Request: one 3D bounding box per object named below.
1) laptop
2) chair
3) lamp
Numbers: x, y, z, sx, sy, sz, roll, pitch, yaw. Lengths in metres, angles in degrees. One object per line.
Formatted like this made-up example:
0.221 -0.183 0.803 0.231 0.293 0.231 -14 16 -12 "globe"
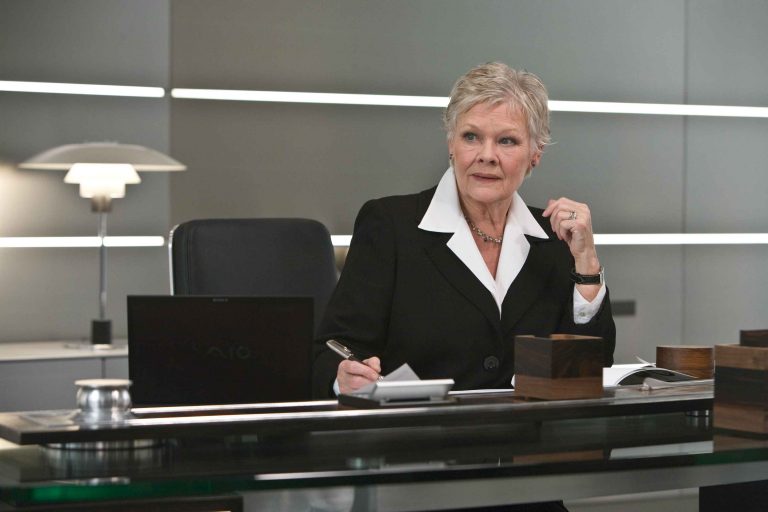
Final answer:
-0.364 0.211 1.734 0.366 0.243 0.254 0 -1 -4 "laptop"
-0.417 0.079 2.531 0.372 0.521 0.415 0 -2 -15 "chair"
-1.140 -0.015 3.886 0.943 1.179 0.952 0 0 14 "lamp"
